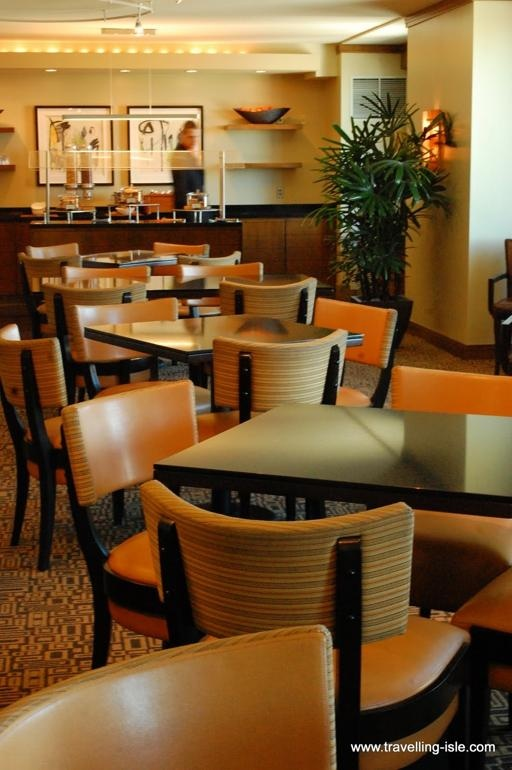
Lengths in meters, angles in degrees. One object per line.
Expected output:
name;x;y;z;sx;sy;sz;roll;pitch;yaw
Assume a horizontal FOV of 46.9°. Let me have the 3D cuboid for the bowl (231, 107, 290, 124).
bowl;0.087;-4.130;9.049;0.428;0.142;0.456;0;20;0
